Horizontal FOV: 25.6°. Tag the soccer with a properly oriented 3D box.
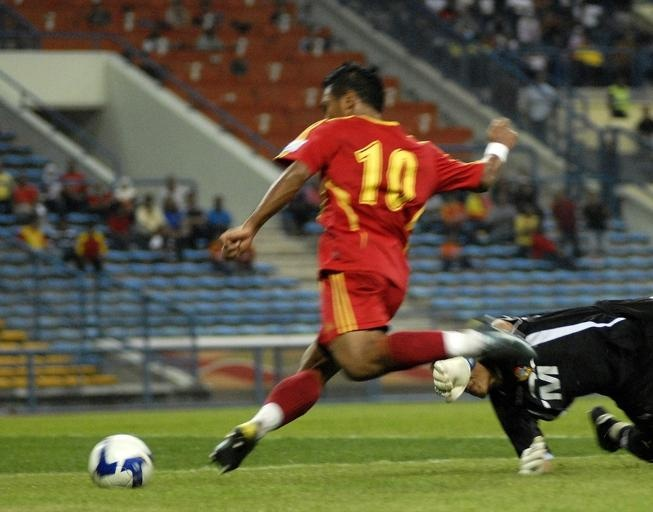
[{"bbox_3d":[-1.708,1.656,11.814,0.499,0.412,0.450,-29,-44,16],"label":"soccer"}]

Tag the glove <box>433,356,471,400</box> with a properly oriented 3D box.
[{"bbox_3d":[0.998,0.996,11.629,0.290,0.354,0.128,2,-6,5],"label":"glove"}]
